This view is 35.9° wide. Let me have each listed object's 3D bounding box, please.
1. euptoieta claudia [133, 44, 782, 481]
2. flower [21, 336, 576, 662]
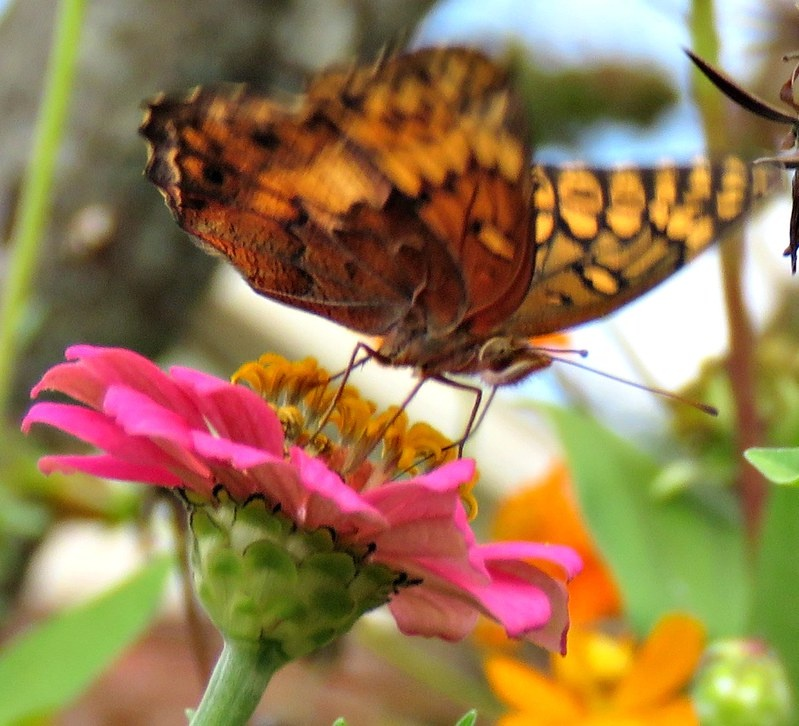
[{"bbox_3d":[0.045,-0.173,1.184,0.395,0.253,0.443,21,-10,12],"label":"euptoieta claudia"},{"bbox_3d":[-0.077,0.117,1.069,0.484,0.234,0.239,16,29,11],"label":"flower"}]
